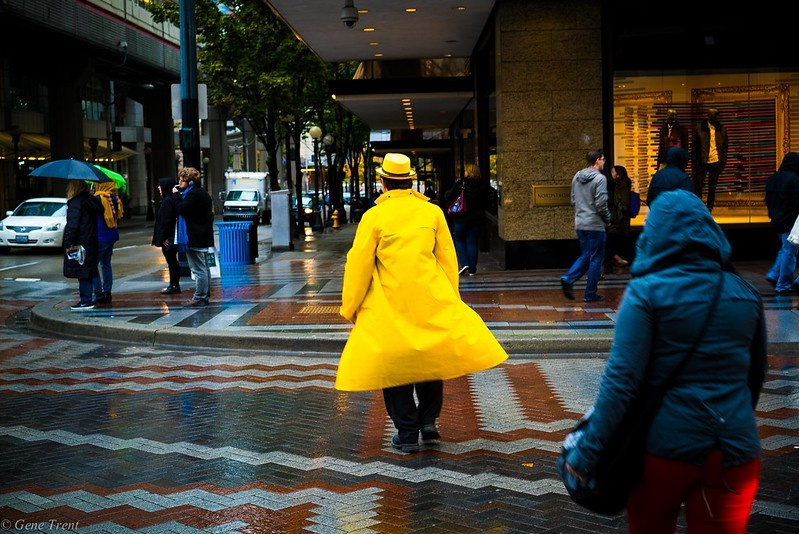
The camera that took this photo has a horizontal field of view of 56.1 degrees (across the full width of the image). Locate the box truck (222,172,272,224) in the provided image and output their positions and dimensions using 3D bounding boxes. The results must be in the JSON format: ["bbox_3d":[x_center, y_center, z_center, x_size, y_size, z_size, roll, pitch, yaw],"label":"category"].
[{"bbox_3d":[-9.007,-4.094,44.382,2.425,2.559,4.808,2,14,-1],"label":"box truck"}]

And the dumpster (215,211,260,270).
[{"bbox_3d":[-4.489,-0.598,19.939,1.210,1.156,1.098,1,5,6],"label":"dumpster"}]

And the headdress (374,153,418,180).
[{"bbox_3d":[-0.052,-0.887,6.717,0.264,0.109,0.294,-4,27,-21],"label":"headdress"}]

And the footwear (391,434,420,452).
[{"bbox_3d":[0.028,1.533,6.610,0.126,0.177,0.251,-2,10,-38],"label":"footwear"}]

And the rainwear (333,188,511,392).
[{"bbox_3d":[0.077,0.218,6.441,1.330,1.660,0.569,-3,10,-6],"label":"rainwear"}]

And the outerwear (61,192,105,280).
[{"bbox_3d":[-5.413,-0.508,12.800,0.667,1.522,0.412,-10,13,-37],"label":"outerwear"}]

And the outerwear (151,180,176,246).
[{"bbox_3d":[-4.545,-0.987,14.452,0.466,1.275,1.208,-6,10,-18],"label":"outerwear"}]

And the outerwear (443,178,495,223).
[{"bbox_3d":[1.458,-1.485,16.303,1.278,1.044,0.692,-9,30,-25],"label":"outerwear"}]

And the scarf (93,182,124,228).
[{"bbox_3d":[-5.456,-1.156,13.906,0.292,0.916,0.431,-3,-11,12],"label":"scarf"}]

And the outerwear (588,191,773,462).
[{"bbox_3d":[1.412,0.300,3.822,0.886,1.334,0.495,1,10,18],"label":"outerwear"}]

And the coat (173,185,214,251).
[{"bbox_3d":[-3.565,-0.850,13.010,0.609,1.136,0.463,-5,10,-16],"label":"coat"}]

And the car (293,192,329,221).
[{"bbox_3d":[-4.977,-3.564,43.472,1.922,1.608,3.965,-1,0,2],"label":"car"}]
